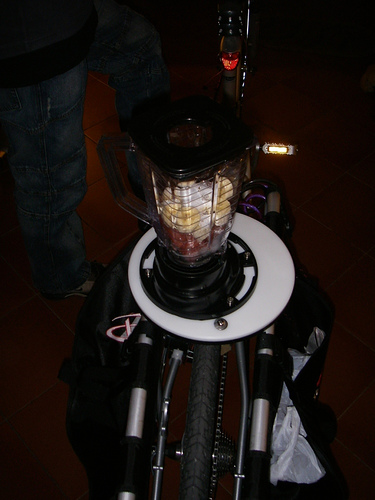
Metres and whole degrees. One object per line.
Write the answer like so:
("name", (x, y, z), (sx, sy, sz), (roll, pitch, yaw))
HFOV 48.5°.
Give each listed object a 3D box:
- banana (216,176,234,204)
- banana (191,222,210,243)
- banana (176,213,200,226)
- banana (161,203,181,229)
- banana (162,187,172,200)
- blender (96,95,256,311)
("banana", (0.049, -0.078, 0.555), (0.033, 0.034, 0.020), (-11, 29, -15))
("banana", (0.019, -0.025, 0.574), (0.024, 0.025, 0.006), (-40, 45, -14))
("banana", (0.001, -0.038, 0.551), (0.018, 0.014, 0.019), (-3, 23, 2))
("banana", (-0.021, -0.047, 0.560), (0.014, 0.024, 0.024), (-25, 69, -26))
("banana", (-0.026, -0.074, 0.545), (0.009, 0.009, 0.015), (34, 11, -9))
("blender", (-0.006, -0.048, 0.570), (0.196, 0.253, 0.151), (-23, 48, -19))
